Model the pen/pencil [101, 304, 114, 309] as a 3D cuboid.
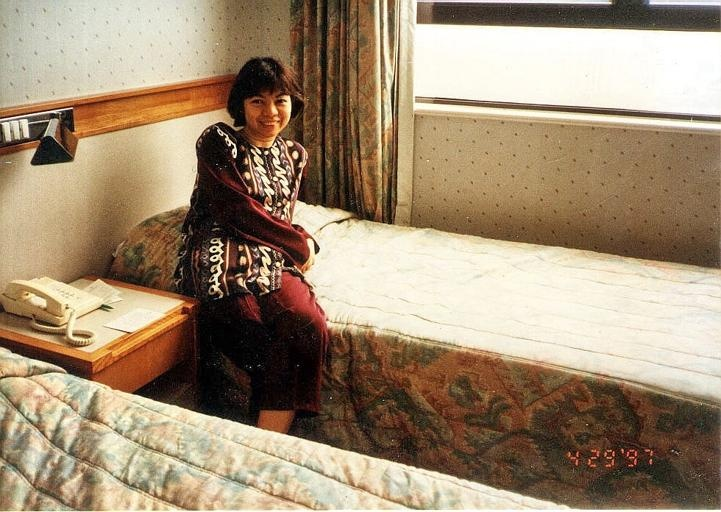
[{"bbox_3d":[-0.791,0.156,1.715,0.047,0.012,0.013,10,60,17],"label":"pen/pencil"}]
